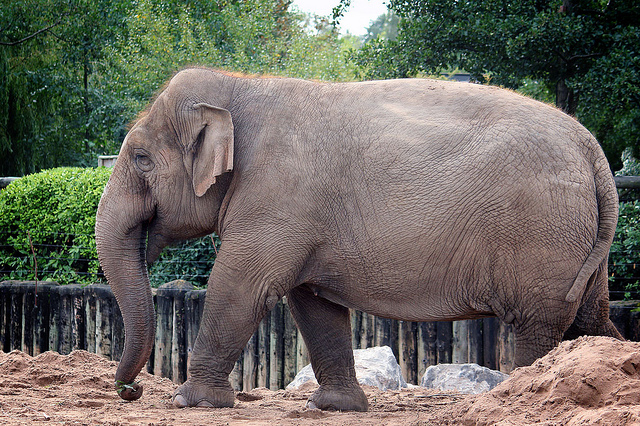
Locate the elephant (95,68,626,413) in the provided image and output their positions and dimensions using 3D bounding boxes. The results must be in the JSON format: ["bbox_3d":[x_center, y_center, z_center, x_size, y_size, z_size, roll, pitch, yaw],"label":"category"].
[{"bbox_3d":[0.599,0.407,13.667,6.936,4.200,2.080,2,8,11],"label":"elephant"}]
